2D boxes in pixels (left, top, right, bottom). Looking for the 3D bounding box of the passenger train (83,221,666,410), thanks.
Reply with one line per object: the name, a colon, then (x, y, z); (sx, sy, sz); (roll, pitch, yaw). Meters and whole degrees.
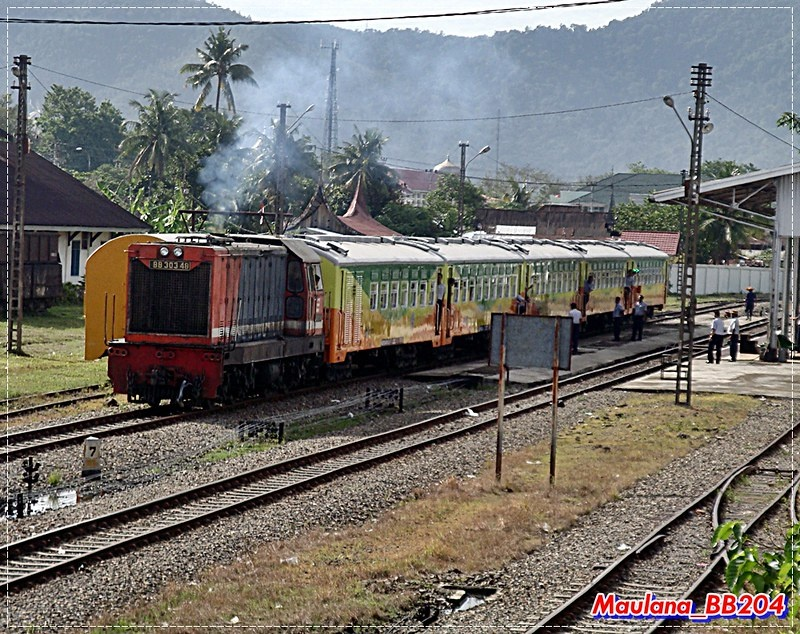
passenger train: (3.235, -0.993, 39.800); (5.729, 4.586, 38.988); (1, 3, 32)
